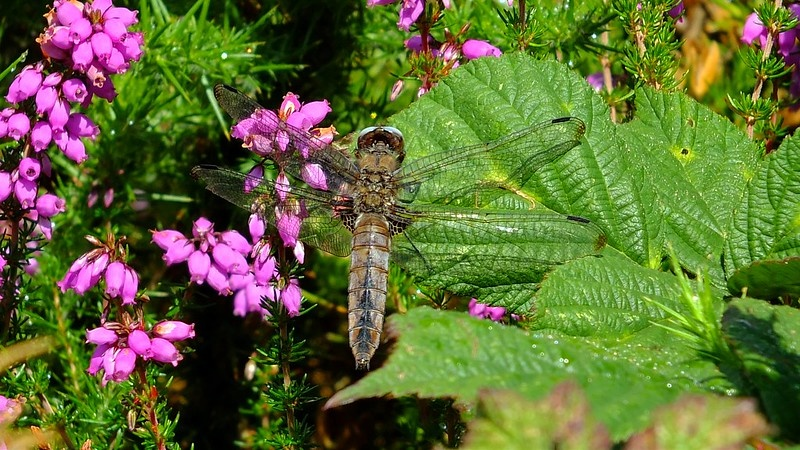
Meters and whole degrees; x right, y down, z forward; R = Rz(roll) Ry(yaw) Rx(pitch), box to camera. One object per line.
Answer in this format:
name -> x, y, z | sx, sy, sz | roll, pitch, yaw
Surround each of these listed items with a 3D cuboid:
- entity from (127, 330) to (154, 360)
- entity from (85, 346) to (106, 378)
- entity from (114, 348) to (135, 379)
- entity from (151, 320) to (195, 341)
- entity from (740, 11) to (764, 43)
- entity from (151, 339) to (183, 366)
entity -> -1.111, 0.510, 3.431 | 0.085, 0.114, 0.043 | -29, -3, -4
entity -> -1.325, 0.593, 3.509 | 0.062, 0.139, 0.040 | 25, -4, 5
entity -> -1.173, 0.594, 3.456 | 0.079, 0.115, 0.034 | 18, -18, 16
entity -> -0.995, 0.458, 3.510 | 0.173, 0.091, 0.088 | -4, 14, -20
entity -> 1.740, -0.965, 3.935 | 0.109, 0.150, 0.185 | 1, 14, -1
entity -> -1.019, 0.554, 3.492 | 0.124, 0.140, 0.111 | -4, 14, -20
